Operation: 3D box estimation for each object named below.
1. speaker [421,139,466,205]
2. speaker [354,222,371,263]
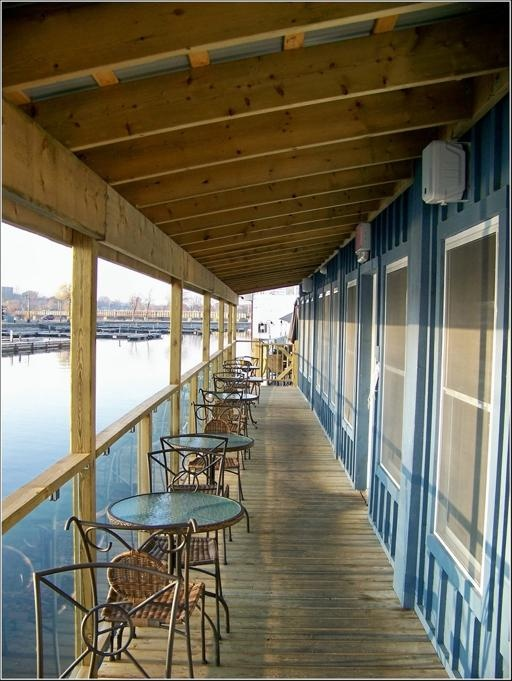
[{"bbox_3d":[0.875,-0.720,2.591,0.136,0.287,0.194,4,-15,11],"label":"speaker"},{"bbox_3d":[0.960,-0.875,5.073,0.129,0.333,0.387,0,2,11],"label":"speaker"}]
